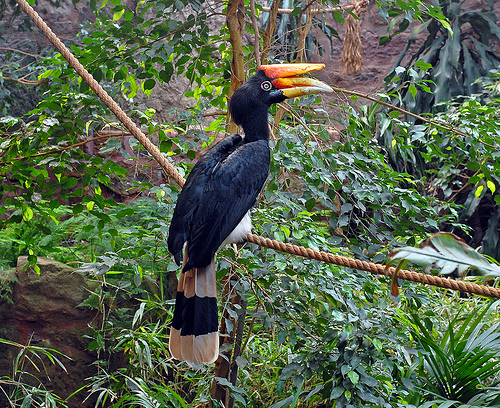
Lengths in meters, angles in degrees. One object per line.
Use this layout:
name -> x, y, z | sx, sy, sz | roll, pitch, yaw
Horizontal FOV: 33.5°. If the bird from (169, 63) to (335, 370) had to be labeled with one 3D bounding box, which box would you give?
bird -> -0.120, 0.016, 5.011 | 0.536, 1.764, 0.808 | 9, 10, 24
